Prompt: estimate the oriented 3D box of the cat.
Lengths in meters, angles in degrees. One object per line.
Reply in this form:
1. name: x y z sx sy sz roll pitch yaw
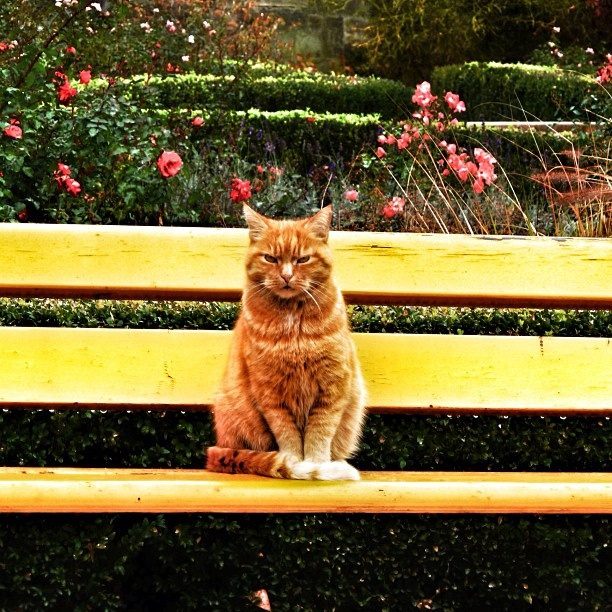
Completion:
1. cat: -0.070 0.114 5.356 0.609 0.936 0.521 0 30 2
